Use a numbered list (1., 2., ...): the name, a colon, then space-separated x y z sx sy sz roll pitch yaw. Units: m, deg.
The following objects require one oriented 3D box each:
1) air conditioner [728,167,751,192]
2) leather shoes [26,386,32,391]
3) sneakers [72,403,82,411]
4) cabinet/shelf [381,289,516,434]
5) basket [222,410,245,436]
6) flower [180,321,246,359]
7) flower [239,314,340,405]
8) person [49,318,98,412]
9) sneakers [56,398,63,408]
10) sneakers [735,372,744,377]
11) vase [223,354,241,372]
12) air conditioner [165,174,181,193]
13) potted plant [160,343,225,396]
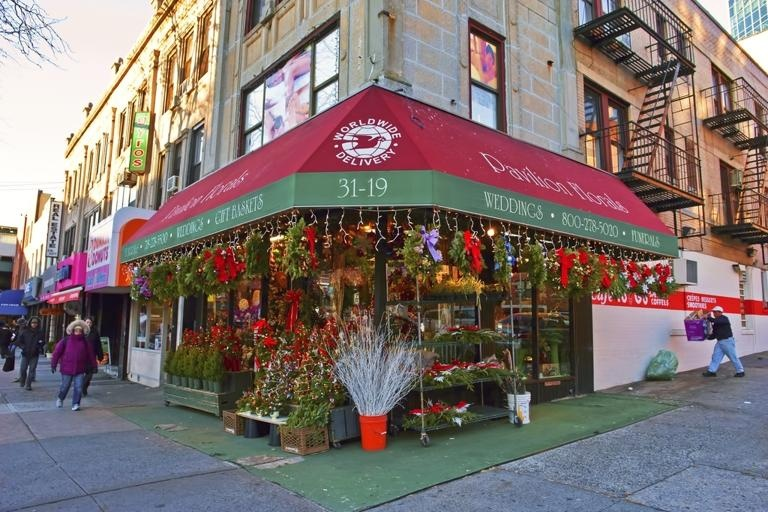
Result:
1. air conditioner: 12.968 -2.733 20.875 0.711 0.992 0.744 2 5 38
2. leather shoes: -10.114 3.745 16.482 0.295 0.125 0.111 -9 -9 42
3. sneakers: -7.312 3.562 13.729 0.176 0.139 0.262 4 -11 -28
4. cabinet/shelf: 1.213 2.191 11.777 2.643 2.436 0.889 5 -10 -39
5. basket: -3.108 3.311 11.974 0.397 0.480 0.645 2 -6 -29
6. flower: -3.926 1.918 13.536 1.163 0.639 0.866 -2 -3 29
7. flower: -1.772 2.089 11.418 1.808 1.831 1.000 -2 -6 37
8. person: -7.589 2.623 14.143 0.946 2.134 1.159 5 -12 -28
9. sneakers: -7.860 3.526 13.977 0.116 0.138 0.323 3 1 -22
10. sneakers: 9.761 3.233 15.921 0.205 0.119 0.301 -7 -12 33
11. vase: -3.411 2.375 12.932 0.353 0.411 0.353 -8 -15 29
12. air conditioner: -6.821 -2.311 18.709 0.371 0.634 0.679 11 -23 -39
13. potted plant: -4.312 2.686 13.985 0.686 1.215 2.969 8 -14 -38
